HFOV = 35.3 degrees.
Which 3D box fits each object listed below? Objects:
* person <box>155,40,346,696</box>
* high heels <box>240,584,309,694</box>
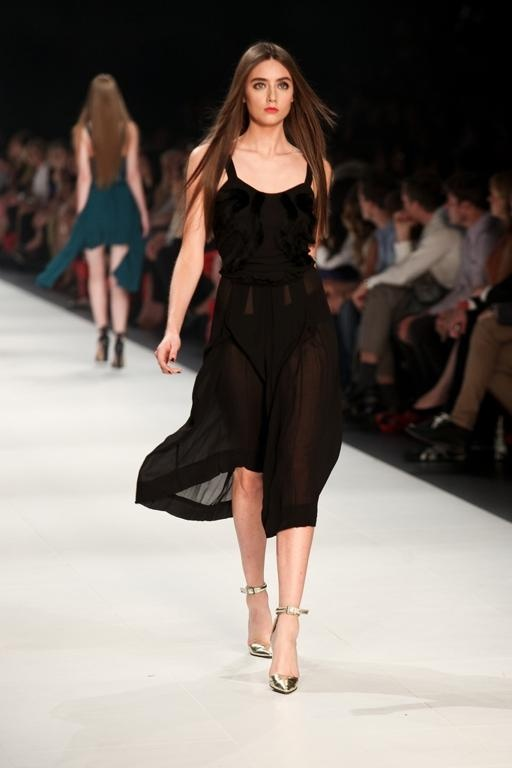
[{"bbox_3d":[-0.030,-0.081,1.758,0.353,1.260,0.456,2,0,4],"label":"person"},{"bbox_3d":[0.027,0.538,1.671,0.083,0.090,0.252,0,-7,-8],"label":"high heels"}]
